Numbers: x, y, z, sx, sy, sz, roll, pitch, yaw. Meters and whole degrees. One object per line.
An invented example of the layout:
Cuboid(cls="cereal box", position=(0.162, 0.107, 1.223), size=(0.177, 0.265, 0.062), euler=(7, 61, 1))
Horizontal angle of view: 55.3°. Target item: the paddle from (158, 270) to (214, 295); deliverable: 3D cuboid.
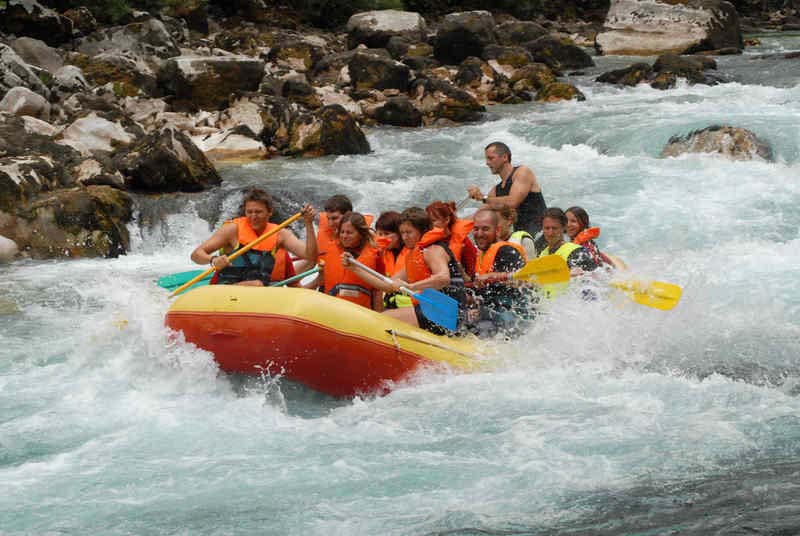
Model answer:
Cuboid(cls="paddle", position=(-2.492, 0.132, 8.793), size=(0.461, 0.086, 0.383), euler=(11, 31, 29))

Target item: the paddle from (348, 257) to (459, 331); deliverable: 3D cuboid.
Cuboid(cls="paddle", position=(0.053, 0.263, 7.743), size=(1.070, 0.178, 0.048), euler=(21, 6, -15))
